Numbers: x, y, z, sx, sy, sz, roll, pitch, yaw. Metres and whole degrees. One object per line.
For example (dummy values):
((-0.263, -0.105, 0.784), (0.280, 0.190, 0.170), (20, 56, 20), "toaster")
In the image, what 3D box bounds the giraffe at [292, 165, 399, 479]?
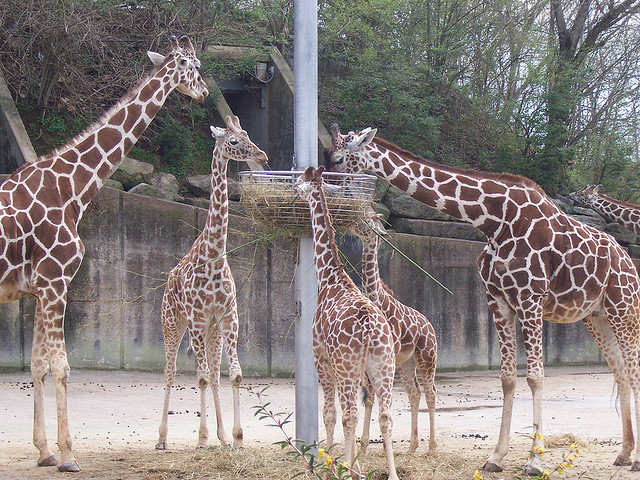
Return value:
((0.415, 1.231, 21.027), (1.461, 4.754, 0.581), (-3, -5, 36), "giraffe")
